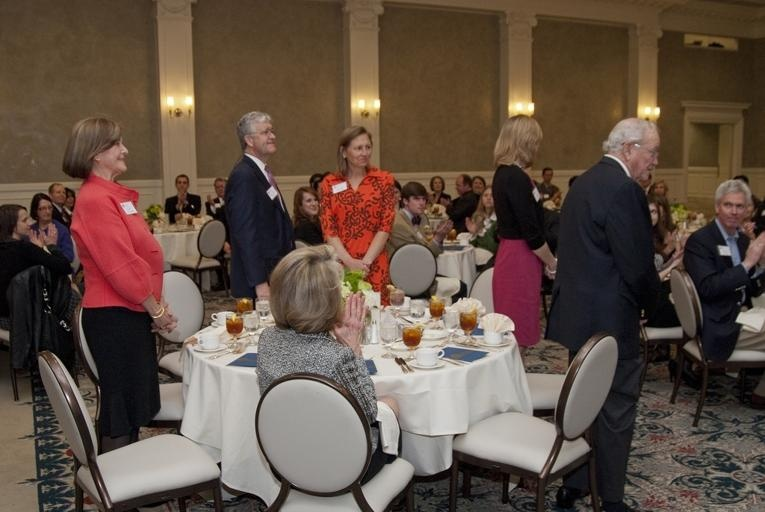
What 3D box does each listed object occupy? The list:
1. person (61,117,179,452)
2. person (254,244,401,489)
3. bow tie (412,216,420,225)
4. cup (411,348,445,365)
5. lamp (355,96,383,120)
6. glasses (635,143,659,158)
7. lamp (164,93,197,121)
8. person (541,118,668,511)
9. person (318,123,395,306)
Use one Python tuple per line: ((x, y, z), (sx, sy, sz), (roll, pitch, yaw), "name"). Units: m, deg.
((-1.528, 0.170, 3.652), (0.498, 1.925, 0.559), (-9, 16, -30), "person")
((-0.261, 0.638, 3.321), (0.609, 1.487, 0.784), (6, 15, 25), "person")
((0.377, -0.402, 6.989), (0.066, 0.107, 0.075), (-4, -2, 9), "bow tie")
((0.276, 0.583, 3.577), (0.124, 0.067, 0.093), (4, -7, -40), "cup")
((-0.299, -2.869, 12.255), (0.731, 0.581, 0.313), (-7, 8, -36), "lamp")
((1.558, -0.633, 3.664), (0.094, 0.074, 0.120), (9, 6, -30), "glasses")
((-3.604, -2.640, 10.878), (0.435, 0.461, 0.146), (-3, 5, -31), "lamp")
((1.403, 0.354, 3.774), (0.546, 2.321, 0.659), (-6, 14, -21), "person")
((-0.213, 0.001, 4.809), (0.555, 2.007, 0.733), (-1, 1, 11), "person")
